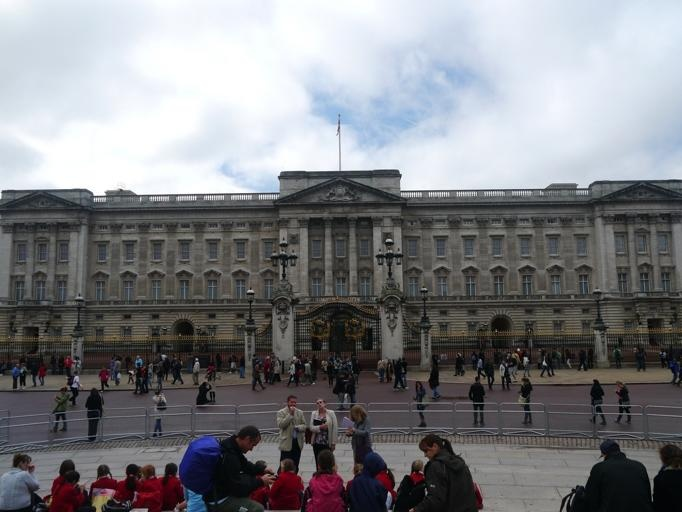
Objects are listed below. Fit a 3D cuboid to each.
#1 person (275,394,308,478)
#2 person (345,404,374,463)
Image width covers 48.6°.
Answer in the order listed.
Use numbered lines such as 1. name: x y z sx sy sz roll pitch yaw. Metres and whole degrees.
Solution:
1. person: -1.685 6.009 26.111 0.974 2.350 0.960 1 -10 -15
2. person: 0.628 6.085 25.875 0.776 1.964 0.893 -1 -10 0
